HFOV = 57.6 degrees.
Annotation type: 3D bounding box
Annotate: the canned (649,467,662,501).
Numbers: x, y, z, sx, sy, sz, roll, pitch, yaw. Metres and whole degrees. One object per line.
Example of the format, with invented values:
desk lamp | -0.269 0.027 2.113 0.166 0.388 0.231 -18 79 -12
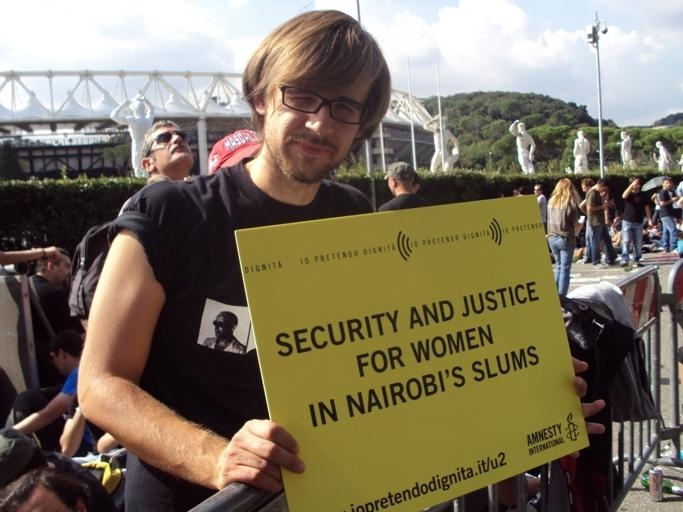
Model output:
canned | 1.910 1.380 3.767 0.076 0.188 0.150 -1 2 27
